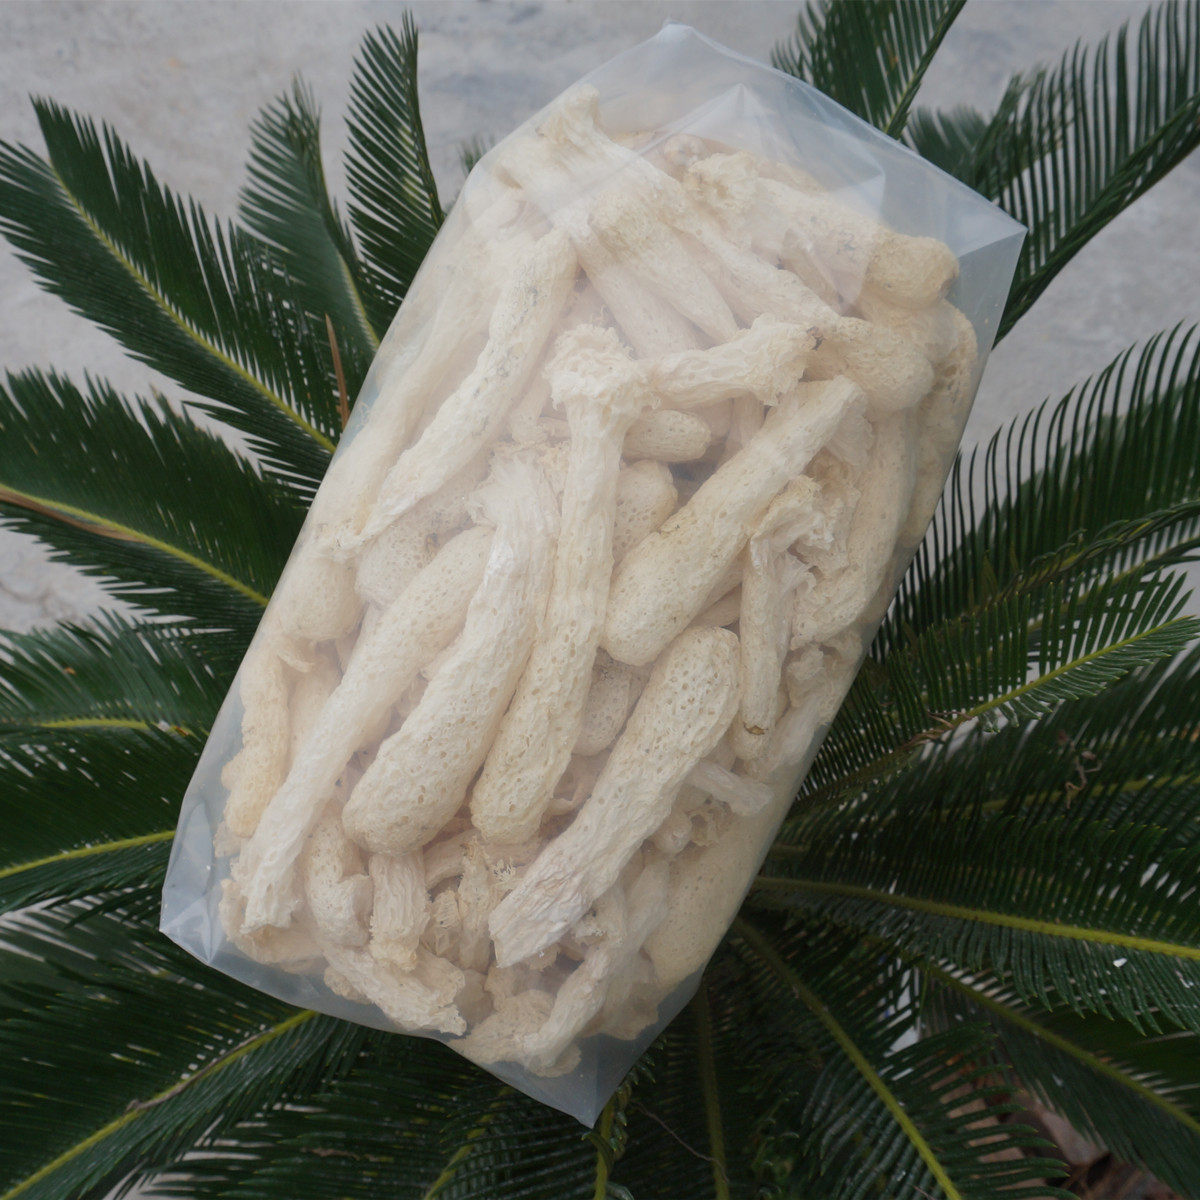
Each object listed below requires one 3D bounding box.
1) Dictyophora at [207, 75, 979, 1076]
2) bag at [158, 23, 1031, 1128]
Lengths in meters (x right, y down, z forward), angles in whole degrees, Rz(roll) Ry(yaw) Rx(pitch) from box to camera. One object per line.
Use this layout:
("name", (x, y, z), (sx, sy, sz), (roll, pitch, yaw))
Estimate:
("Dictyophora", (0.027, -0.019, 1.350), (0.531, 0.224, 0.768), (27, 83, 8))
("bag", (0.057, -0.019, 1.362), (0.539, 0.249, 0.861), (31, 91, 17))
